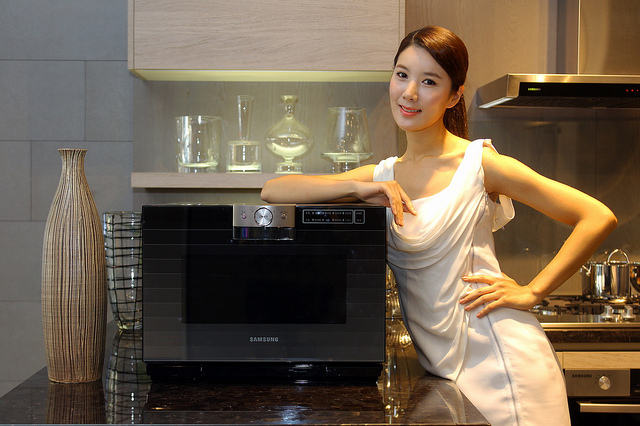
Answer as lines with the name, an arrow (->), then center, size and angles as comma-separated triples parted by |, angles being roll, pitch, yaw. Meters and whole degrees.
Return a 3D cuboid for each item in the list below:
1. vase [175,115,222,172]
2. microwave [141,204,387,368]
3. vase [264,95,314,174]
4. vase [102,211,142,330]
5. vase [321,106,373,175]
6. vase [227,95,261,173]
vase -> -0.501, -0.286, 3.096 | 0.204, 0.217, 0.205 | 5, 8, 24
microwave -> -0.163, 0.208, 2.451 | 0.969, 0.612, 0.497 | 0, -5, 1
vase -> -0.123, -0.322, 3.143 | 0.256, 0.328, 0.241 | 1, -4, -18
vase -> -0.715, 0.215, 2.763 | 0.138, 0.391, 0.092 | -3, 1, -5
vase -> 0.117, -0.286, 3.089 | 0.225, 0.276, 0.208 | 3, 3, -21
vase -> -0.314, -0.333, 3.115 | 0.141, 0.265, 0.229 | -3, 1, -5
